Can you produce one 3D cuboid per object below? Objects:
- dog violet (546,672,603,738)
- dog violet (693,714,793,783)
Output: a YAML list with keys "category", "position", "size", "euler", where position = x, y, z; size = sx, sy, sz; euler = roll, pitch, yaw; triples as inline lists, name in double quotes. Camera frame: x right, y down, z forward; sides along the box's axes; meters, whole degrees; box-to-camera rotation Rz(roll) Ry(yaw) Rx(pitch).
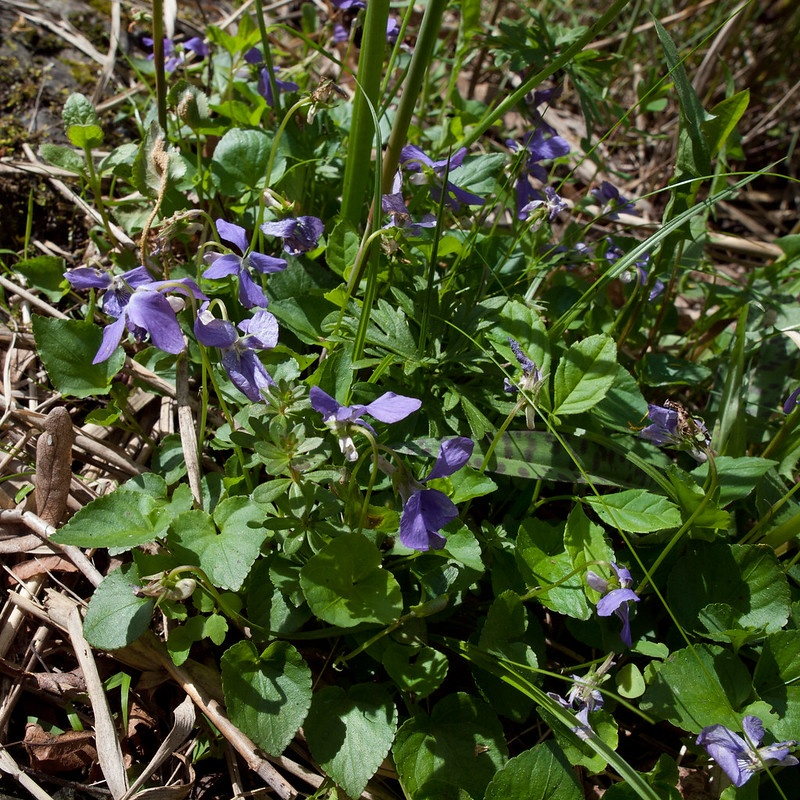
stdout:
- category: "dog violet"
  position: [0.417, 0.715, 1.892]
  size: [0.158, 0.063, 0.148]
  euler: [28, -14, 19]
- category: "dog violet"
  position: [0.763, 0.795, 1.791]
  size: [0.190, 0.067, 0.182]
  euler: [-3, 13, -33]
